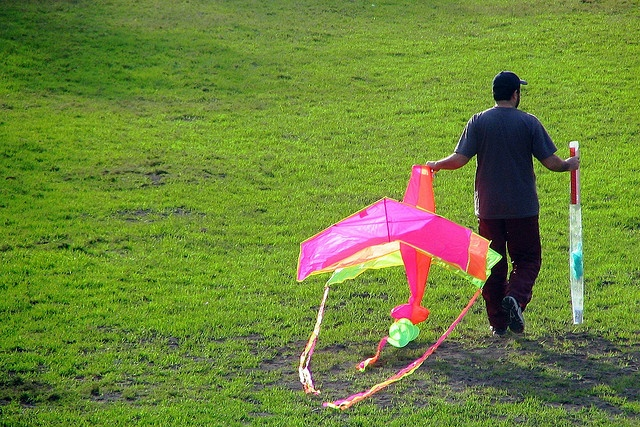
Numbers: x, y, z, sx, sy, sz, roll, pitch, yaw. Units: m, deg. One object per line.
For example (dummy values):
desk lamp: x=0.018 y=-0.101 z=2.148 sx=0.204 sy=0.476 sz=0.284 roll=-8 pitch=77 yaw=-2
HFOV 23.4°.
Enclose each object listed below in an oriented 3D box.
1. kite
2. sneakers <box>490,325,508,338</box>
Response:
kite: x=2.362 y=2.805 z=41.720 sx=5.659 sy=2.483 sz=6.372 roll=6 pitch=53 yaw=29
sneakers: x=4.765 y=3.127 z=41.245 sx=0.241 sy=0.262 sz=0.400 roll=-3 pitch=19 yaw=-12
